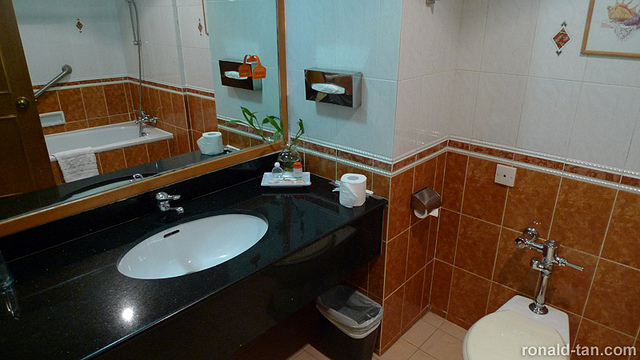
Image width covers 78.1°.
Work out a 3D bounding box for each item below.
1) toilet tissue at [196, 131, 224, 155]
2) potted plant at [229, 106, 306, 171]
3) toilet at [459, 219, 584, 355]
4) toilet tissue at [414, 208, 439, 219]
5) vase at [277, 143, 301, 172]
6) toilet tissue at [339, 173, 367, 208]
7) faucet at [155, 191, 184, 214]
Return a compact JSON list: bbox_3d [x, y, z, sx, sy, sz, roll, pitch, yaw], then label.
[{"bbox_3d":[-0.746,-0.238,2.665,0.125,0.130,0.188,8,15,26],"label":"toilet tissue"},{"bbox_3d":[-0.350,-0.348,2.945,0.483,0.448,0.437,0,25,4],"label":"potted plant"},{"bbox_3d":[1.412,0.716,2.684,0.861,0.820,0.582,-27,36,-30],"label":"toilet"},{"bbox_3d":[0.761,0.232,2.770,0.135,0.046,0.092,-8,12,-27],"label":"toilet tissue"},{"bbox_3d":[-0.222,-0.158,2.856,0.177,0.192,0.170,12,27,21],"label":"vase"},{"bbox_3d":[0.213,0.065,2.617,0.206,0.168,0.197,-18,28,-41],"label":"toilet tissue"},{"bbox_3d":[-0.947,0.134,2.466,0.157,0.142,0.120,-8,27,-19],"label":"faucet"}]
